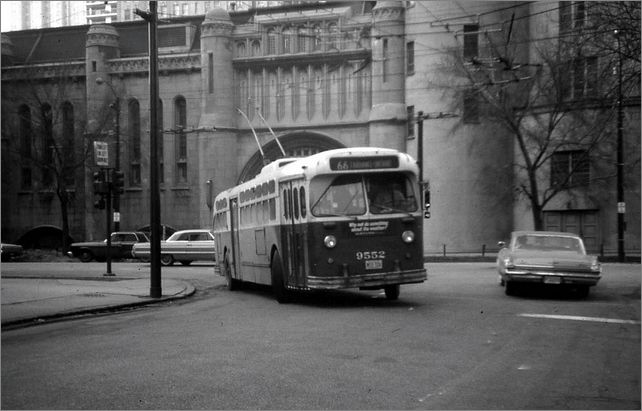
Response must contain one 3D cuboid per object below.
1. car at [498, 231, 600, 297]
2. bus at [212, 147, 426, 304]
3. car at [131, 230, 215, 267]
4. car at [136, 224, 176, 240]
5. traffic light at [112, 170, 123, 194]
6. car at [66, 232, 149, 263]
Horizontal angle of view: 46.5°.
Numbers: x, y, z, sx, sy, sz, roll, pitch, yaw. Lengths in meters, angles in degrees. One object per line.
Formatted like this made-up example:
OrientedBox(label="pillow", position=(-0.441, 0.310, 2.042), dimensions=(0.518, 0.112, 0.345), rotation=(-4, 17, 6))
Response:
OrientedBox(label="car", position=(7.357, 1.892, 24.477), dimensions=(2.928, 2.070, 2.694), rotation=(0, -1, 12))
OrientedBox(label="bus", position=(-1.697, 0.734, 26.658), dimensions=(3.643, 4.939, 12.775), rotation=(1, -1, -37))
OrientedBox(label="car", position=(-8.765, 2.467, 43.722), dimensions=(5.096, 1.899, 2.331), rotation=(-2, 1, -2))
OrientedBox(label="car", position=(-9.884, 1.614, 45.023), dimensions=(2.140, 0.675, 1.293), rotation=(2, -1, -2))
OrientedBox(label="traffic light", position=(-9.308, -1.096, 34.218), dimensions=(0.373, 1.113, 2.315), rotation=(0, -1, -13))
OrientedBox(label="car", position=(-13.639, 2.649, 47.768), dimensions=(4.942, 1.843, 2.354), rotation=(0, -4, 13))
